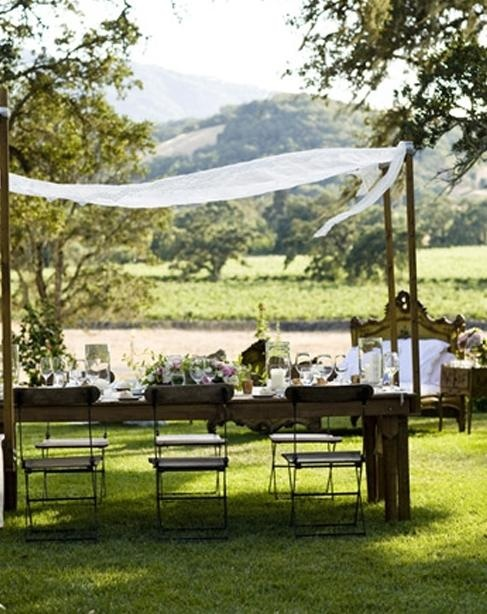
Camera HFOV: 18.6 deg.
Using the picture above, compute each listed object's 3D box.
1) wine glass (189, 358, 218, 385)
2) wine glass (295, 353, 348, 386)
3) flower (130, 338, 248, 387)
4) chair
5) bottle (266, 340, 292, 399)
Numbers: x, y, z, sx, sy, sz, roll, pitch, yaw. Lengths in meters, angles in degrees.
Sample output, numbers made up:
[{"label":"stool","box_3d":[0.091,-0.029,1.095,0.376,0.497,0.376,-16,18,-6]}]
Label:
[{"label":"wine glass","box_3d":[-0.332,0.540,12.445,0.187,0.339,0.196,-2,-2,-2]},{"label":"wine glass","box_3d":[0.674,0.549,12.783,0.355,0.398,0.400,-1,2,-12]},{"label":"flower","box_3d":[-0.468,0.530,12.517,0.471,0.208,0.517,1,-7,-5]},{"label":"chair","box_3d":[-0.416,1.106,12.877,2.896,1.382,1.903,-2,12,0]},{"label":"bottle","box_3d":[0.310,0.551,12.592,0.239,0.492,0.254,-1,-18,0]}]
